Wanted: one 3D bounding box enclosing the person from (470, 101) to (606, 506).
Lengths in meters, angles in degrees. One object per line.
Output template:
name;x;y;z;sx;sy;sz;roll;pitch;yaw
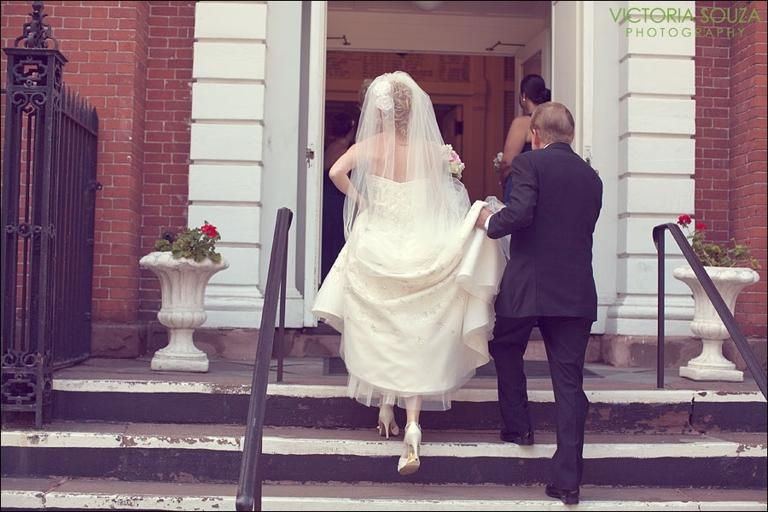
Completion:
person;1.393;0.394;11.000;0.937;3.460;0.476;0;4;9

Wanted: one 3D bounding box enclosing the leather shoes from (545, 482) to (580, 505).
leather shoes;1.541;2.059;10.919;0.136;0.181;0.274;-6;12;-40

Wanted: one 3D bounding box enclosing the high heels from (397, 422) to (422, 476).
high heels;0.227;1.675;10.879;0.170;0.489;0.209;4;46;-4

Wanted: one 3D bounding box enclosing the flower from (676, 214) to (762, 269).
flower;3.405;-0.127;12.869;0.802;0.601;1.389;1;3;15

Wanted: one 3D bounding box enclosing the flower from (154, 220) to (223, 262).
flower;-1.866;-0.128;12.260;0.422;0.266;0.509;6;5;-23

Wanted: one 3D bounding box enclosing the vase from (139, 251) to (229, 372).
vase;-1.910;0.601;12.576;1.127;1.230;1.054;1;-7;-3

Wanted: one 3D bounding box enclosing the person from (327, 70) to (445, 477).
person;0.081;-0.003;11.202;1.188;3.261;0.653;0;3;2
